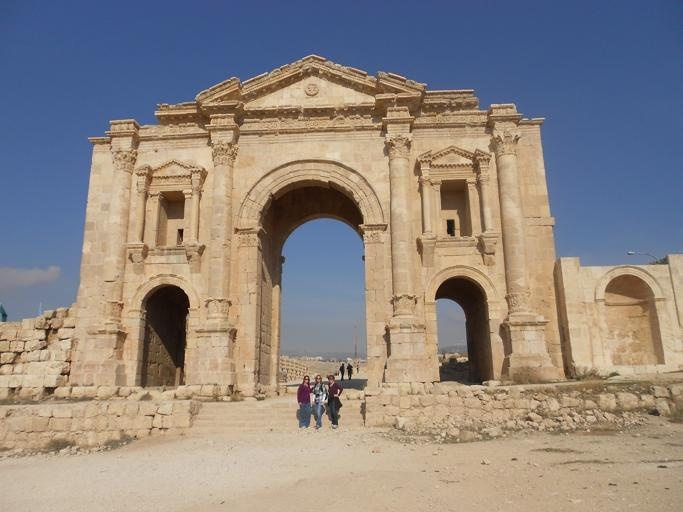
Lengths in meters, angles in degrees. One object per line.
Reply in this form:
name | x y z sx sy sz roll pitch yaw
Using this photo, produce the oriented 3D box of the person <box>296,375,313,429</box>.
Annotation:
person | -1.249 4.874 17.108 0.519 1.776 1.370 -2 -5 -6
